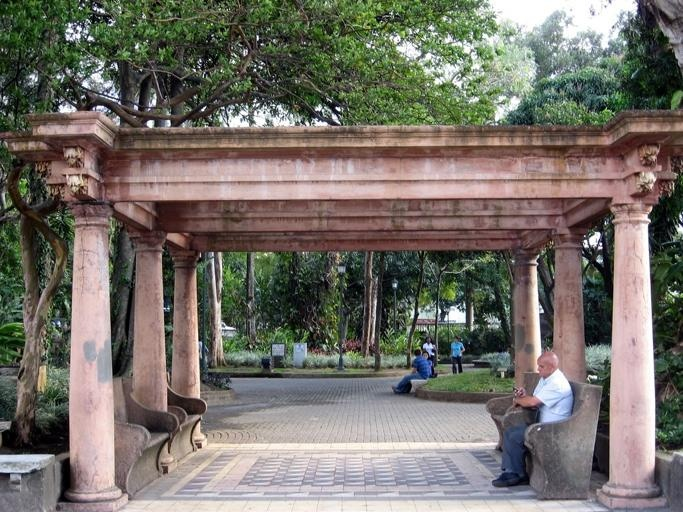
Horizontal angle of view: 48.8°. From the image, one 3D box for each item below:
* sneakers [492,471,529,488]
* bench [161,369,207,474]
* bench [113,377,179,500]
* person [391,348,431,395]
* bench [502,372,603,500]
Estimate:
[{"bbox_3d":[2.550,3.387,11.469,0.549,0.279,0.225,2,-9,-5],"label":"sneakers"},{"bbox_3d":[-2.945,2.948,13.322,0.521,1.237,1.549,-4,-2,4],"label":"bench"},{"bbox_3d":[-3.102,2.884,11.759,0.496,1.063,1.508,-2,-4,-2],"label":"bench"},{"bbox_3d":[2.432,3.849,25.392,1.081,1.441,3.503,-3,-8,8],"label":"person"},{"bbox_3d":[3.214,2.782,11.915,0.967,1.607,2.132,0,-5,2],"label":"bench"}]
